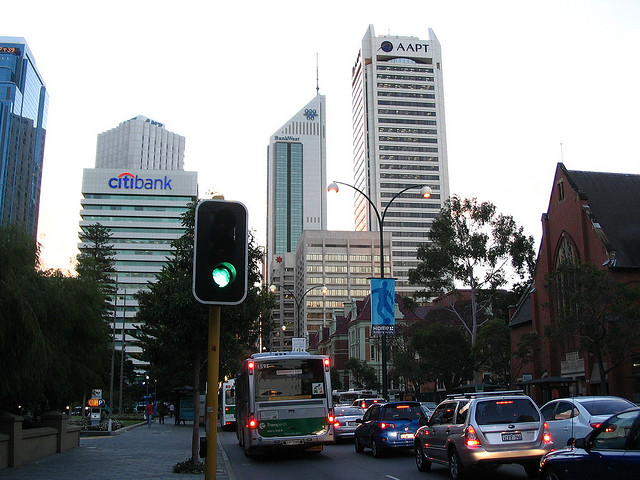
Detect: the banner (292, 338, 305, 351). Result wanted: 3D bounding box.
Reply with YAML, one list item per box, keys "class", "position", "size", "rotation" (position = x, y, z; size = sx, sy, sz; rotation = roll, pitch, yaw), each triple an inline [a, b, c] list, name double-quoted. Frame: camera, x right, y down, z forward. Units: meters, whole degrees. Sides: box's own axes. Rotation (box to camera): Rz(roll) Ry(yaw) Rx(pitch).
- class: "banner"
  position: [-1.220, 6.108, 39.566]
  size: [0.922, 1.001, 0.525]
  rotation: [1, -8, 4]

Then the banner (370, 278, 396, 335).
- class: "banner"
  position: [2.885, 3.022, 31.217]
  size: [1.059, 2.554, 1.228]
  rotation: [-3, -13, 6]

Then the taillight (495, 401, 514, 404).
- class: "taillight"
  position: [5.102, 4.528, 18.905]
  size: [0.588, 0.082, 0.075]
  rotation: [0, -11, -8]

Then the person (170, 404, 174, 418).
- class: "person"
  position: [-15.871, 18.391, 72.695]
  size: [0.290, 1.284, 2.184]
  rotation: [2, -15, -14]

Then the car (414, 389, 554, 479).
- class: "car"
  position: [4.486, 5.676, 19.810]
  size: [2.025, 1.857, 3.902]
  rotation: [2, -11, -12]

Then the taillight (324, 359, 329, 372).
- class: "taillight"
  position: [0.260, 4.747, 25.636]
  size: [0.097, 0.344, 0.240]
  rotation: [-3, -29, 2]

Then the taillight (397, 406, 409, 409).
- class: "taillight"
  position: [3.030, 6.136, 24.839]
  size: [0.415, 0.097, 0.039]
  rotation: [1, -13, -13]
